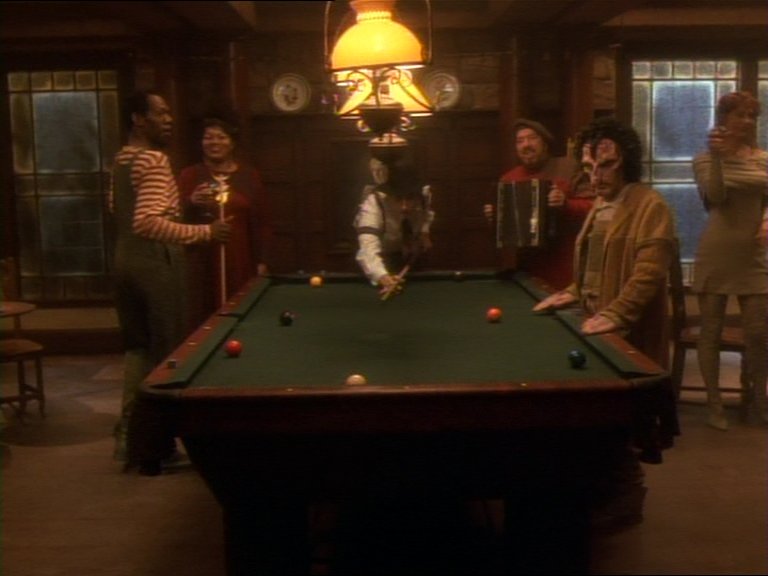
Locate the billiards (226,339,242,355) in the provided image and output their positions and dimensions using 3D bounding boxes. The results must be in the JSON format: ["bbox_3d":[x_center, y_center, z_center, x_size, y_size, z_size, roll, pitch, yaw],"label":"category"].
[{"bbox_3d":[-0.641,0.246,3.474,0.061,0.056,0.057,-4,14,-26],"label":"billiards"}]

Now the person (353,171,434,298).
[{"bbox_3d":[0.056,-0.314,5.015,0.336,0.517,0.984,3,23,13],"label":"person"}]

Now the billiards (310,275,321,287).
[{"bbox_3d":[-0.433,-0.049,5.171,0.063,0.058,0.077,0,12,-4],"label":"billiards"}]

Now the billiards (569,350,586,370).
[{"bbox_3d":[0.758,0.291,3.229,0.060,0.053,0.065,-1,0,5],"label":"billiards"}]

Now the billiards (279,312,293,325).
[{"bbox_3d":[-0.483,0.147,3.997,0.061,0.051,0.059,-1,-5,-4],"label":"billiards"}]
